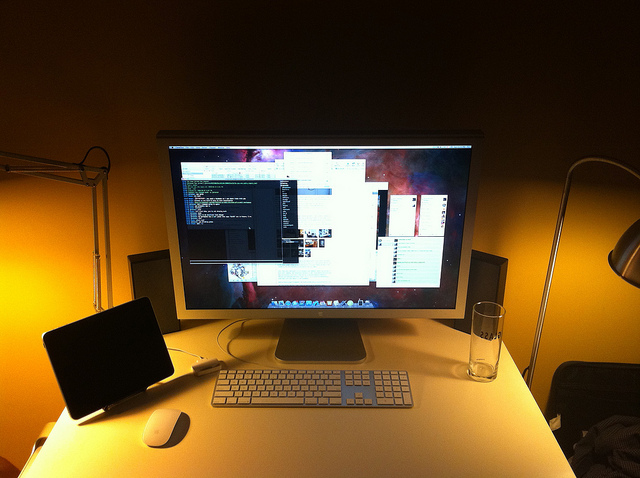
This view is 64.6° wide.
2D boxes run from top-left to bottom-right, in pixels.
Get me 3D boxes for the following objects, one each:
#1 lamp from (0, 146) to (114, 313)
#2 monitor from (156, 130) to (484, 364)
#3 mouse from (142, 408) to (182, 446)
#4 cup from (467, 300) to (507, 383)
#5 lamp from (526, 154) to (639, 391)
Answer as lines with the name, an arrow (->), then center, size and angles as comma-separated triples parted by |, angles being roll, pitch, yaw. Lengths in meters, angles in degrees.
lamp -> -0.769, -0.037, 1.523 | 0.273, 0.497, 0.351 | -3, 7, -22
monitor -> 0.004, 0.010, 1.462 | 0.670, 0.507, 0.193 | 0, 24, 0
mouse -> -0.412, 0.484, 1.311 | 0.077, 0.031, 0.128 | -1, 27, 4
cup -> 0.487, 0.294, 1.484 | 0.098, 0.211, 0.172 | 2, 6, 19
lamp -> 0.766, 0.141, 1.498 | 0.260, 0.782, 0.520 | 2, 7, 22
